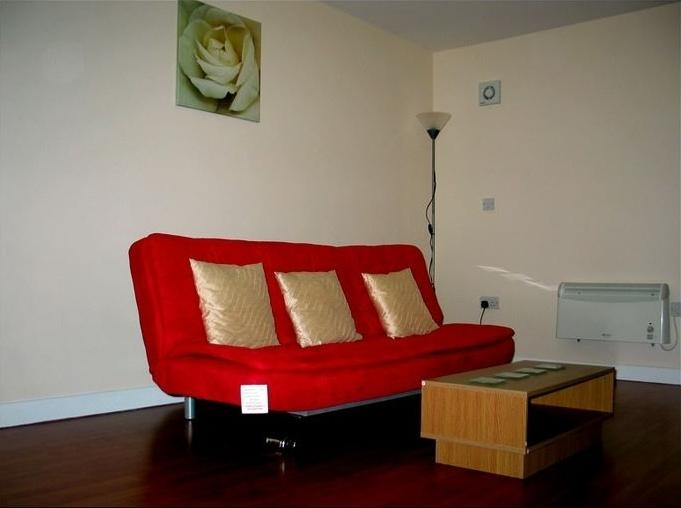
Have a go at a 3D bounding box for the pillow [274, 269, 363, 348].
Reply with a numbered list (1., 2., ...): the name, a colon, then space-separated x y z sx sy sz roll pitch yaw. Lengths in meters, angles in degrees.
1. pillow: -0.147 0.300 2.995 0.439 0.427 0.126 -6 -24 -44

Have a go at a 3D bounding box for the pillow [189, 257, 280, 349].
1. pillow: -0.560 0.277 2.763 0.466 0.464 0.141 3 -21 -43

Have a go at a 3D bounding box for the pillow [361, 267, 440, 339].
1. pillow: 0.376 0.324 3.390 0.442 0.421 0.128 -4 -27 -43
